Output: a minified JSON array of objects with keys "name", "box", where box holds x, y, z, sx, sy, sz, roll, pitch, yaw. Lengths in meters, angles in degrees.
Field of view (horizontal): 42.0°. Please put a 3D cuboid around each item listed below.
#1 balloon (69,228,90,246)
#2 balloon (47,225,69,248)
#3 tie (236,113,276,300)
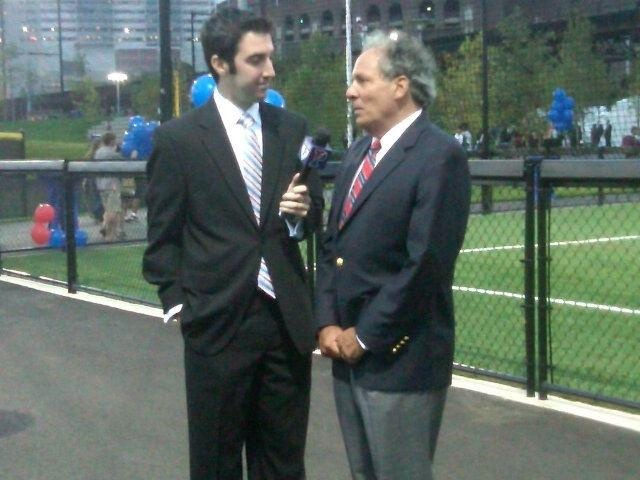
[{"name":"balloon","box":[-2.874,-0.021,10.098,0.154,0.171,0.166,-1,-2,-7]},{"name":"balloon","box":[-3.616,0.002,11.524,0.146,0.325,0.870,-5,10,-25]},{"name":"tie","box":[-0.393,-0.284,4.991,0.172,1.284,0.182,-10,1,-11]}]
